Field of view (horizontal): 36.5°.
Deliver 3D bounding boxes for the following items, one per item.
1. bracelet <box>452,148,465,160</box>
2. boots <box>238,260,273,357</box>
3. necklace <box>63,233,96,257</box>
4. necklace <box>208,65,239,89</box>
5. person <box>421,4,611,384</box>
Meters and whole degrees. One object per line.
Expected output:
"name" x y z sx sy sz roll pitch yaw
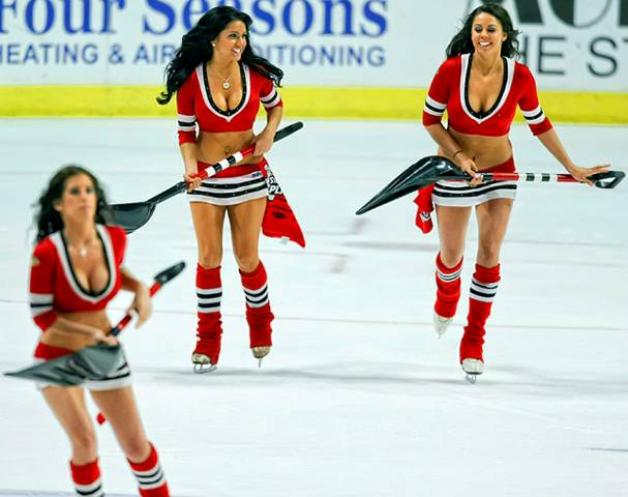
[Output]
"bracelet" 0.721 -0.494 4.878 0.045 0.038 0.037 -7 16 -32
"boots" -0.299 0.315 5.119 0.151 0.483 0.121 -8 34 -5
"necklace" -0.844 -0.017 3.461 0.096 0.074 0.036 14 34 5
"necklace" -0.477 -0.886 4.862 0.123 0.119 0.037 -4 -21 -23
"person" 0.884 -0.342 4.951 0.745 1.805 0.721 3 14 8
